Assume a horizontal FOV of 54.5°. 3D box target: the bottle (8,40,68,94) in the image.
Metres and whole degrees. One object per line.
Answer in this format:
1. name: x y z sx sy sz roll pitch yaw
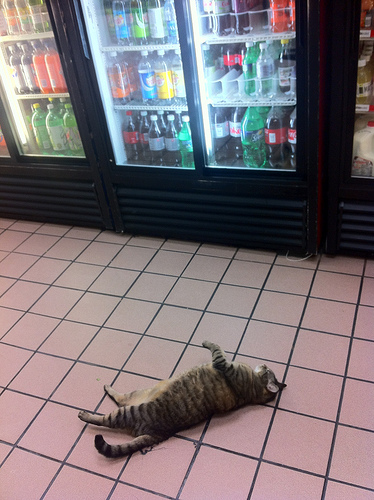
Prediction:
1. bottle: -1.110 -1.399 2.732 0.409 0.412 0.229 0 25 26

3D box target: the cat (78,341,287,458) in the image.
1. cat: 0.017 0.685 1.685 0.875 0.395 0.398 -8 29 -3

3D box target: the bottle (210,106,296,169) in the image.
1. bottle: 0.437 -0.758 2.416 0.574 0.384 0.215 6 32 26

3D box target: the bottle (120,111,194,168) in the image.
1. bottle: -0.210 -0.846 2.714 0.591 0.412 0.354 15 37 38

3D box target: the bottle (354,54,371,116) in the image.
1. bottle: 0.964 -0.883 1.964 0.082 0.291 0.172 4 31 24
